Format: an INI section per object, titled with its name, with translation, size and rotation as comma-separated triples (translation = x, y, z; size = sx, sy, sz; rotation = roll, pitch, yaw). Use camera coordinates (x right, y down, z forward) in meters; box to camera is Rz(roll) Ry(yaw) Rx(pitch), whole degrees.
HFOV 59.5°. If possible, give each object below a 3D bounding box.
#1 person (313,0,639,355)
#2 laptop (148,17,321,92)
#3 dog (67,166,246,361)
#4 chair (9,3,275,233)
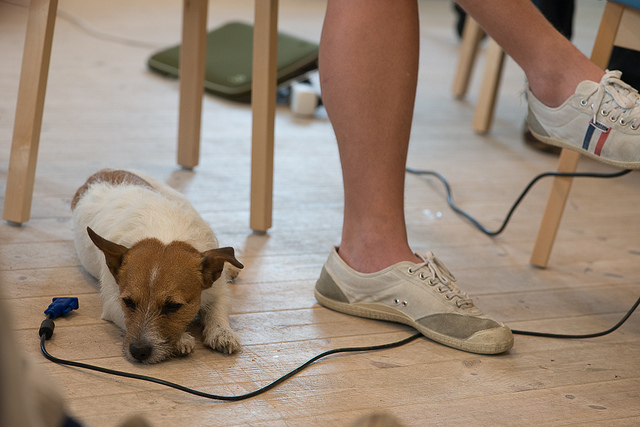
[person]
translation = 0.397, -0.101, 1.495
size = 0.836, 0.823, 0.545
rotation = -1, 31, -2
[laptop]
translation = -0.267, -0.561, 1.987
size = 0.412, 0.055, 0.411
rotation = 19, 44, 37
[dog]
translation = -0.490, 0.072, 1.722
size = 0.443, 0.328, 0.941
rotation = -8, 29, -28
[chair]
translation = -0.610, -0.396, 2.205
size = 0.959, 0.867, 0.901
rotation = 0, 13, -19
